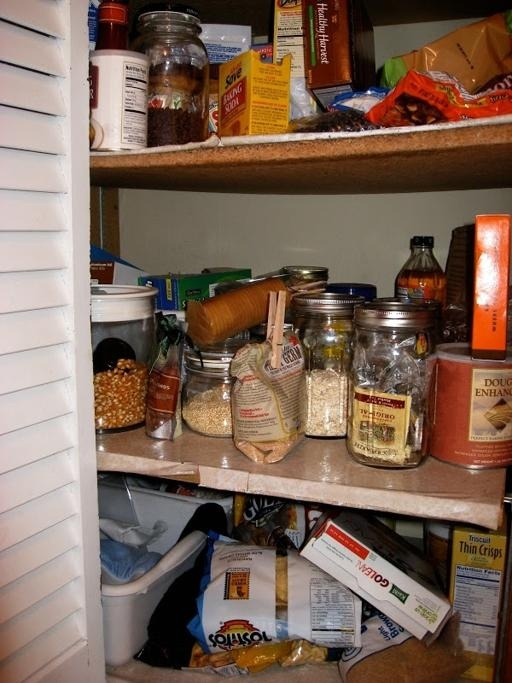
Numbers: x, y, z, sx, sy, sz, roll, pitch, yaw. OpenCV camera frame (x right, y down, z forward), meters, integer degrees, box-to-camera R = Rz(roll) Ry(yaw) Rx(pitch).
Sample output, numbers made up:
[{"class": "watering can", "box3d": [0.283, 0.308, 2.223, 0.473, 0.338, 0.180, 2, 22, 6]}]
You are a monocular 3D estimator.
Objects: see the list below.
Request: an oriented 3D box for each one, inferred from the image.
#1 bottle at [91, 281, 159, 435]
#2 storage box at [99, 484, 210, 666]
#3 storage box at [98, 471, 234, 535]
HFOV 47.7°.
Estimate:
[{"class": "bottle", "box3d": [-0.196, 0.037, 0.972, 0.165, 0.220, 0.153, -2, -9, 0]}, {"class": "storage box", "box3d": [-0.201, 0.390, 0.994, 0.184, 0.093, 0.232, 6, 11, 14]}, {"class": "storage box", "box3d": [-0.200, 0.320, 1.177, 0.217, 0.132, 0.071, 15, 38, -25]}]
